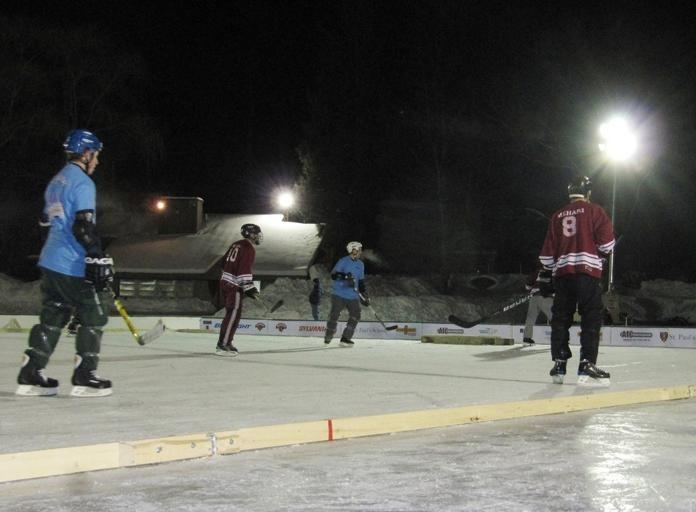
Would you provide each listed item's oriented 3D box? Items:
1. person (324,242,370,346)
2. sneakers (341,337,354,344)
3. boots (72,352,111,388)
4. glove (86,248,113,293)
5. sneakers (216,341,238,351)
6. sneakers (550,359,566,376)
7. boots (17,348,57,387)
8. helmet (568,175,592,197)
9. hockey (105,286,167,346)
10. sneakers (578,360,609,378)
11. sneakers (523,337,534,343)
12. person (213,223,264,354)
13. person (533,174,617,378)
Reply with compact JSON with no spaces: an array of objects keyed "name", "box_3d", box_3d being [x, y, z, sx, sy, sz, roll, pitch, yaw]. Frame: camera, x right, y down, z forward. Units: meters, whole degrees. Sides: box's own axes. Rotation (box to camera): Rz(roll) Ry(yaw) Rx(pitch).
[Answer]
[{"name":"person","box_3d":[-0.021,0.677,12.750,0.785,1.979,1.372,1,-2,-2]},{"name":"sneakers","box_3d":[-0.009,1.515,12.188,0.225,0.128,0.217,1,-2,-5]},{"name":"boots","box_3d":[-2.219,0.996,5.994,0.505,0.348,0.166,-1,-10,29]},{"name":"glove","box_3d":[-2.212,0.122,6.047,0.244,0.258,0.293,0,-18,-6]},{"name":"sneakers","box_3d":[-1.763,1.305,9.806,0.287,0.169,0.277,1,-2,-11]},{"name":"sneakers","box_3d":[2.189,1.151,7.018,0.155,0.175,0.208,0,-2,14]},{"name":"boots","box_3d":[-2.763,1.008,5.972,0.157,0.310,0.431,-9,-20,29]},{"name":"helmet","box_3d":[2.639,-0.758,7.575,0.238,0.261,0.285,-3,-12,-1]},{"name":"hockey","box_3d":[-2.233,0.753,7.170,0.557,0.316,0.109,21,29,5]},{"name":"sneakers","box_3d":[2.490,1.135,6.815,0.394,0.147,0.121,8,-1,-7]},{"name":"sneakers","box_3d":[3.375,1.553,12.596,0.186,0.114,0.165,0,-2,12]},{"name":"person","box_3d":[-1.631,0.453,10.103,0.608,1.967,0.925,1,-2,-8]},{"name":"person","box_3d":[2.446,0.194,7.145,0.706,2.227,0.920,1,-2,-9]}]
